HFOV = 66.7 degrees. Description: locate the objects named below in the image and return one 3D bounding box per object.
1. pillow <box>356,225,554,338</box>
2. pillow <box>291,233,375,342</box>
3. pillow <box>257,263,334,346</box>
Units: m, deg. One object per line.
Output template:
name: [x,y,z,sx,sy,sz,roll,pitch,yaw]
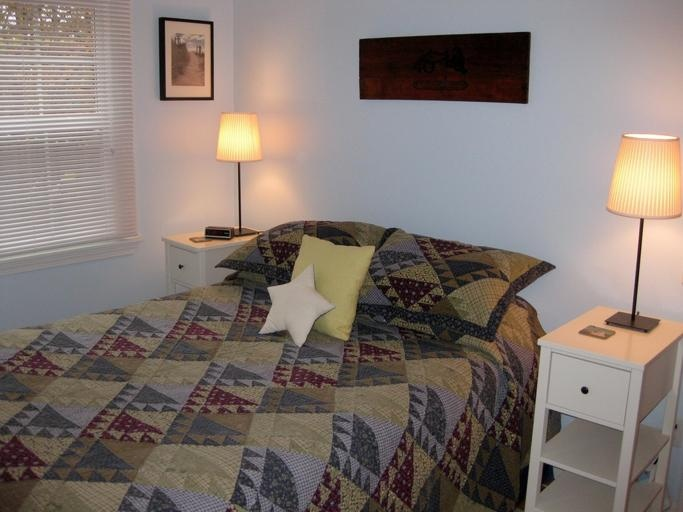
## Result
pillow: [0.545,0.112,2.847,0.902,0.273,0.920,10,27,11]
pillow: [0.031,0.163,2.699,0.504,0.446,0.153,3,-18,39]
pillow: [-0.209,0.244,2.551,0.360,0.332,0.092,33,-13,32]
